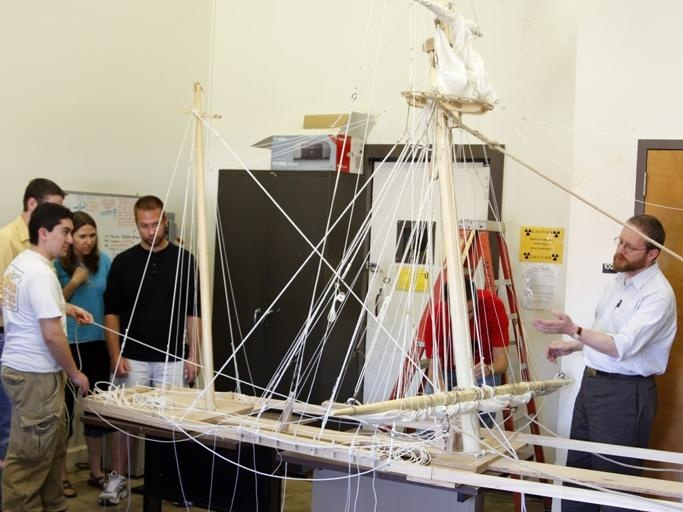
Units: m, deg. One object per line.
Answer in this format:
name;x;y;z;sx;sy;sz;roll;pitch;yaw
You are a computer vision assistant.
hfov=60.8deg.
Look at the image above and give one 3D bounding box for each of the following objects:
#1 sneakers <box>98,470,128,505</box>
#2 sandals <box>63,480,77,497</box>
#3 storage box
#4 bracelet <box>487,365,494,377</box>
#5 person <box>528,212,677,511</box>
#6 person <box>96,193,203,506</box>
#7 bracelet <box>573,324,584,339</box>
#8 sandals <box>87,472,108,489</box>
sneakers;-1.464;1.492;3.733;0.098;0.138;0.261;2;-10;-2
sandals;-1.777;1.529;3.820;0.088;0.076;0.253;2;-7;-25
storage box;-0.137;-0.814;4.239;0.794;0.435;0.468;4;2;35
bracelet;0.826;0.635;3.230;0.020;0.064;0.043;-2;-8;19
person;1.461;0.616;3.169;0.924;1.490;0.480;1;2;-31
person;-1.222;0.609;3.724;0.651;1.984;0.623;2;1;-5
bracelet;1.169;0.375;2.888;0.029;0.066;0.054;4;-5;4
sandals;-1.642;1.507;3.947;0.071;0.087;0.192;3;-4;-44
